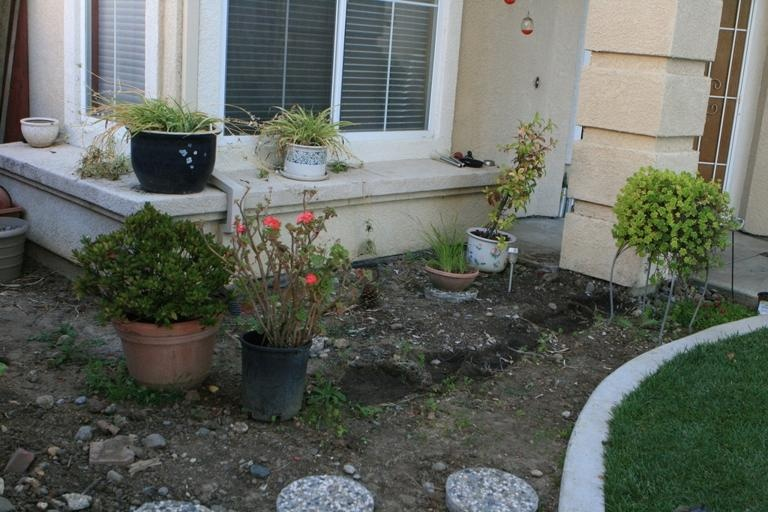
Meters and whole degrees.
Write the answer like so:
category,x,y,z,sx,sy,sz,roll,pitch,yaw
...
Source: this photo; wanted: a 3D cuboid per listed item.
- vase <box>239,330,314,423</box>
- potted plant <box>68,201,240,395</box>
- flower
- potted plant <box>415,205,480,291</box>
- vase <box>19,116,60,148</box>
category,x,y,z,sx,sy,sz,roll,pitch,yaw
vase,-0.708,0.755,3.494,0.472,0.458,0.462,6,9,11
potted plant,-1.447,0.311,3.492,0.925,1.088,0.548,-2,20,-14
flower,-0.542,0.190,3.460,0.688,0.854,0.701,4,-4,6
potted plant,0.628,0.013,5.239,0.479,0.604,0.465,-1,9,40
vase,-3.418,-1.225,5.400,0.343,0.215,0.338,3,8,4
